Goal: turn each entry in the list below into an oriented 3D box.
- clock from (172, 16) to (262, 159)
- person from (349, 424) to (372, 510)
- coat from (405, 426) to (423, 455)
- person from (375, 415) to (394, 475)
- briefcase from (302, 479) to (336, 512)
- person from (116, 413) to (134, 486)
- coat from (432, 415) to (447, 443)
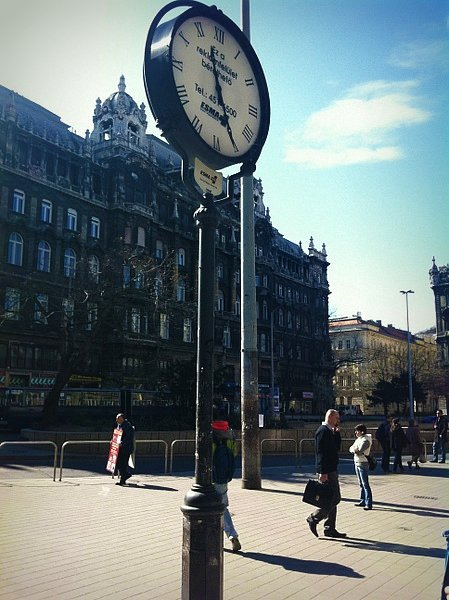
[{"bbox_3d":[-0.028,-1.630,4.288,1.009,0.180,1.062,37,-34,27],"label":"clock"},{"bbox_3d":[2.592,3.106,10.827,0.369,1.461,1.635,-1,-9,13],"label":"person"},{"bbox_3d":[6.092,4.520,18.347,0.467,0.953,1.118,-3,-9,23],"label":"coat"},{"bbox_3d":[5.052,4.539,18.026,0.494,1.717,2.193,-2,-9,16],"label":"person"},{"bbox_3d":[1.260,2.606,7.591,0.408,0.381,0.266,-1,-9,11],"label":"briefcase"},{"bbox_3d":[-2.563,3.877,14.564,0.574,0.834,1.940,10,33,-17],"label":"person"},{"bbox_3d":[8.186,4.843,21.604,0.451,1.007,2.488,-2,-10,20],"label":"coat"}]
